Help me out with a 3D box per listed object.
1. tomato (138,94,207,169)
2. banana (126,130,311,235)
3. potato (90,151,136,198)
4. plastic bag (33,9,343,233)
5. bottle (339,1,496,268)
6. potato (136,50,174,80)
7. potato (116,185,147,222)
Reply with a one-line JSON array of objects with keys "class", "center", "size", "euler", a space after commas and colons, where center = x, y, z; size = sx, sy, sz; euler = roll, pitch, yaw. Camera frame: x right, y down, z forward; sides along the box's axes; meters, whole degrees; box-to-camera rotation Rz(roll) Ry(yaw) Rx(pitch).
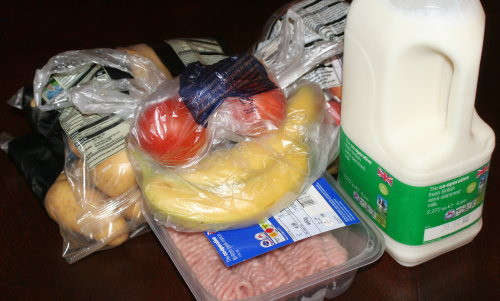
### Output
[{"class": "tomato", "center": [-0.146, -0.051, 0.723], "size": [0.108, 0.135, 0.077], "euler": [11, 10, -4]}, {"class": "banana", "center": [-0.054, 0.054, 0.748], "size": [0.352, 0.170, 0.137], "euler": [-14, 40, 3]}, {"class": "potato", "center": [-0.286, 0.052, 0.804], "size": [0.095, 0.076, 0.055], "euler": [-10, 13, 3]}, {"class": "plastic bag", "center": [-0.045, -0.001, 0.846], "size": [0.604, 0.183, 0.443], "euler": [-19, 71, -9]}, {"class": "bottle", "center": [0.298, -0.019, 0.698], "size": [0.280, 0.454, 0.246], "euler": [-5, 41, 13]}, {"class": "potato", "center": [-0.222, -0.194, 0.881], "size": [0.027, 0.020, 0.104], "euler": [-32, 69, -14]}, {"class": "potato", "center": [-0.255, 0.117, 0.818], "size": [0.042, 0.074, 0.059], "euler": [-51, 39, 6]}]
